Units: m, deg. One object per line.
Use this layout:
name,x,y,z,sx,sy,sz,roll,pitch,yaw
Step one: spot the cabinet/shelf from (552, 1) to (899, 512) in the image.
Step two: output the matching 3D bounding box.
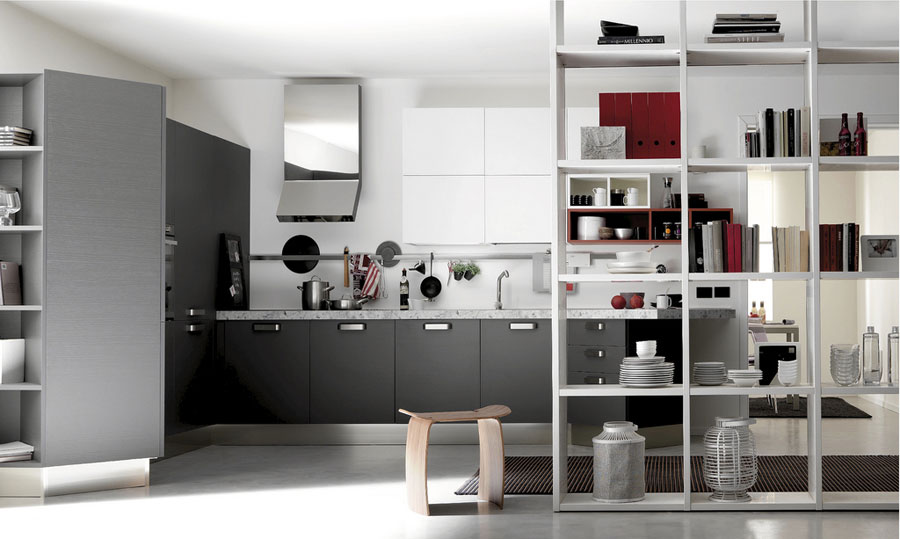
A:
cabinet/shelf,2.058,-0.148,5.851,2.537,3.859,0.679,0,3,6

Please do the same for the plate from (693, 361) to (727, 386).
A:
plate,2.026,0.812,6.038,0.230,0.144,0.216,0,-5,-3

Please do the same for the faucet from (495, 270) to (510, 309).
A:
faucet,0.534,0.210,8.077,0.148,0.407,0.316,0,3,12

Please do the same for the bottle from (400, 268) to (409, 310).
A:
bottle,-0.479,0.200,8.111,0.103,0.397,0.321,-1,3,-2

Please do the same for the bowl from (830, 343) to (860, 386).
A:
bowl,3.038,0.726,5.848,0.220,0.292,0.238,-1,3,0

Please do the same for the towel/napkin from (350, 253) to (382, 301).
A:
towel/napkin,-0.896,0.080,8.146,0.379,0.451,0.112,1,-7,9

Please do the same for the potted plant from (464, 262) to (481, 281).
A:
potted plant,0.231,0.029,8.146,0.195,0.192,0.178,1,4,-5

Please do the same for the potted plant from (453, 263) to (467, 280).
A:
potted plant,0.102,0.028,8.168,0.141,0.192,0.096,-1,3,0

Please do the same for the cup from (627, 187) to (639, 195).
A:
cup,1.890,-0.811,7.887,0.072,0.057,0.099,0,-3,8

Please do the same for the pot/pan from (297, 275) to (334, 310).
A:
pot/pan,-1.410,0.268,8.130,0.515,0.396,0.296,0,-2,3

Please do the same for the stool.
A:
stool,0.049,1.574,6.286,0.835,0.675,0.335,1,-6,-12

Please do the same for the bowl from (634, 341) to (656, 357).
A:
bowl,1.525,0.617,5.974,0.193,0.144,0.205,-1,1,0

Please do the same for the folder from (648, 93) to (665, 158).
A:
folder,2.019,-1.409,7.449,0.139,0.650,0.074,-3,31,11

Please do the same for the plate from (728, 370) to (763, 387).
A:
plate,2.262,0.826,5.895,0.175,0.084,0.165,0,-4,0

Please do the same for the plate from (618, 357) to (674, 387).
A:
plate,1.521,0.793,5.883,0.295,0.121,0.279,-1,0,-5

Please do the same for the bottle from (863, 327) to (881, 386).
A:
bottle,3.236,0.652,5.857,0.139,0.417,0.273,1,3,27

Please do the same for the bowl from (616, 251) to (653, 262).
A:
bowl,1.423,-0.099,5.987,0.164,0.062,0.156,-1,-1,0

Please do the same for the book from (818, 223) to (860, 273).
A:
book,2.976,-0.166,6.053,0.360,0.453,0.353,0,1,7

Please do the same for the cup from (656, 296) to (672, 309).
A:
cup,2.164,0.336,7.712,0.118,0.152,0.184,0,1,-40

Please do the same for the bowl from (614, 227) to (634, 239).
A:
bowl,1.755,-0.364,7.764,0.134,0.074,0.127,0,-6,0
